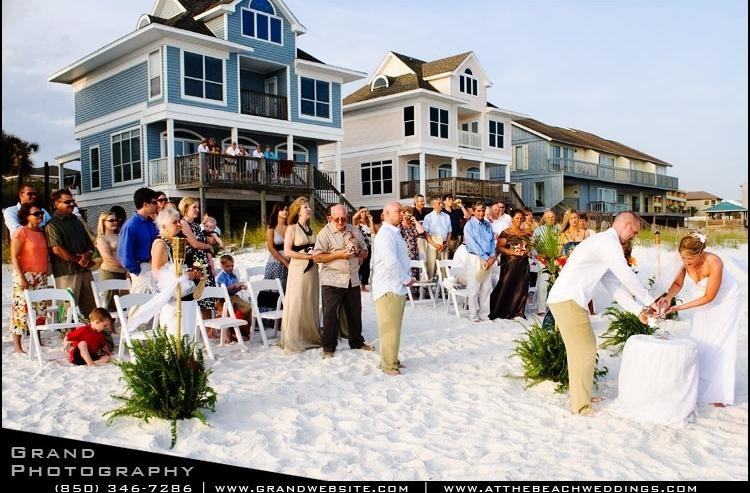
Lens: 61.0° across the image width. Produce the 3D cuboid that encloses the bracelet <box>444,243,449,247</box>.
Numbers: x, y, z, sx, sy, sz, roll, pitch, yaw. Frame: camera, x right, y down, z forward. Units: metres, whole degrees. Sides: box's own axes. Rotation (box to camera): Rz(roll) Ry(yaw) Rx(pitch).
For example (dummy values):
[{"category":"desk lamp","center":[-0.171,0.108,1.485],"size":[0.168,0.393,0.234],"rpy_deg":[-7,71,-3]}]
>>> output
[{"category":"bracelet","center":[1.720,-0.051,15.193],"size":[0.063,0.100,0.088],"rpy_deg":[4,2,-9]}]

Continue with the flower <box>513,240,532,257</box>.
[{"category":"flower","center":[3.029,0.023,13.033],"size":[0.255,0.325,0.141],"rpy_deg":[5,-1,18]}]

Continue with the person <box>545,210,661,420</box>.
[{"category":"person","center":[3.137,0.925,8.917],"size":[1.364,2.802,0.785],"rpy_deg":[-1,2,10]}]

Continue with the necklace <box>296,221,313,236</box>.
[{"category":"necklace","center":[-1.179,-0.325,10.891],"size":[0.217,0.072,0.165],"rpy_deg":[42,14,24]}]

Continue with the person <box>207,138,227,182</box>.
[{"category":"person","center":[-5.833,-3.147,23.102],"size":[0.313,1.504,0.701],"rpy_deg":[0,2,31]}]

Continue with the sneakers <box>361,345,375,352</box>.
[{"category":"sneakers","center":[-0.111,1.737,10.919],"size":[0.205,0.148,0.098],"rpy_deg":[-9,3,-17]}]

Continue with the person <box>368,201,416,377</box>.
[{"category":"person","center":[0.290,0.636,10.129],"size":[0.615,2.706,0.497],"rpy_deg":[-1,2,1]}]

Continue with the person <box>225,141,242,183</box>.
[{"category":"person","center":[-5.260,-3.202,23.867],"size":[0.455,1.469,0.892],"rpy_deg":[-1,2,7]}]

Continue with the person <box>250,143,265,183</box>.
[{"category":"person","center":[-4.542,-3.235,24.710],"size":[0.475,1.373,0.797],"rpy_deg":[-2,2,-10]}]

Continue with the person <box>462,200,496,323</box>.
[{"category":"person","center":[2.211,0.279,13.131],"size":[0.651,2.423,0.503],"rpy_deg":[-2,2,-9]}]

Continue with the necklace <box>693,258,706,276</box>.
[{"category":"necklace","center":[4.691,0.282,9.205],"size":[0.139,0.235,0.170],"rpy_deg":[8,-1,45]}]

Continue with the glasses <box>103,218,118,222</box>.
[{"category":"glasses","center":[-4.711,-0.485,11.423],"size":[0.167,0.066,0.234],"rpy_deg":[0,3,36]}]

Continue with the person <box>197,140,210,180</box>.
[{"category":"person","center":[-6.116,-3.097,22.858],"size":[0.401,1.526,0.832],"rpy_deg":[-2,2,-16]}]

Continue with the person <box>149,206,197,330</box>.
[{"category":"person","center":[-2.970,0.355,9.269],"size":[0.655,1.853,0.750],"rpy_deg":[-1,2,9]}]

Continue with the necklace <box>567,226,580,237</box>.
[{"category":"necklace","center":[4.162,-0.327,13.304],"size":[0.202,0.212,0.067],"rpy_deg":[8,2,12]}]
